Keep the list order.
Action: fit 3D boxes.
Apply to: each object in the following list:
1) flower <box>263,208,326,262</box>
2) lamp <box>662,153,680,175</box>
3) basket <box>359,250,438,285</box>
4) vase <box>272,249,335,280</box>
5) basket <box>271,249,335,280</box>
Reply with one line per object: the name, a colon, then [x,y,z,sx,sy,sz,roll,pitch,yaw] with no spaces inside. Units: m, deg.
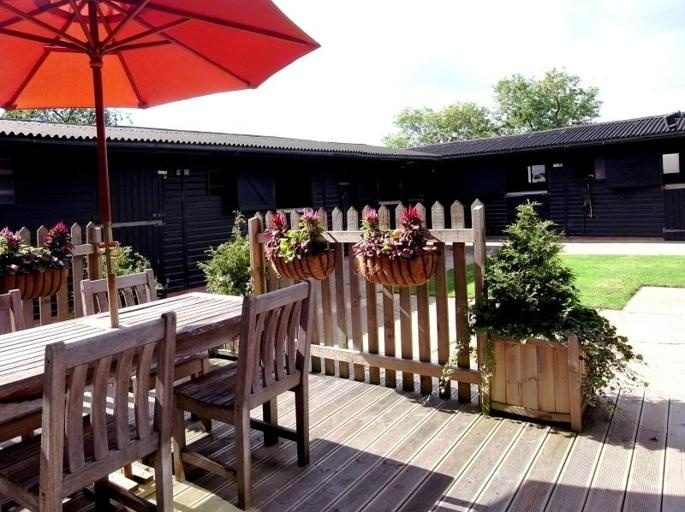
flower: [-0.439,-0.178,4.655,0.487,0.404,0.516,-11,14,-14]
lamp: [11.842,-3.323,18.244,0.453,0.659,2.446,3,10,30]
basket: [0.432,0.106,3.969,0.366,0.174,0.381,-5,-2,34]
vase: [-0.365,0.106,4.588,0.441,0.215,0.293,-4,-4,28]
basket: [-0.358,0.106,4.590,0.446,0.216,0.297,-4,-4,29]
